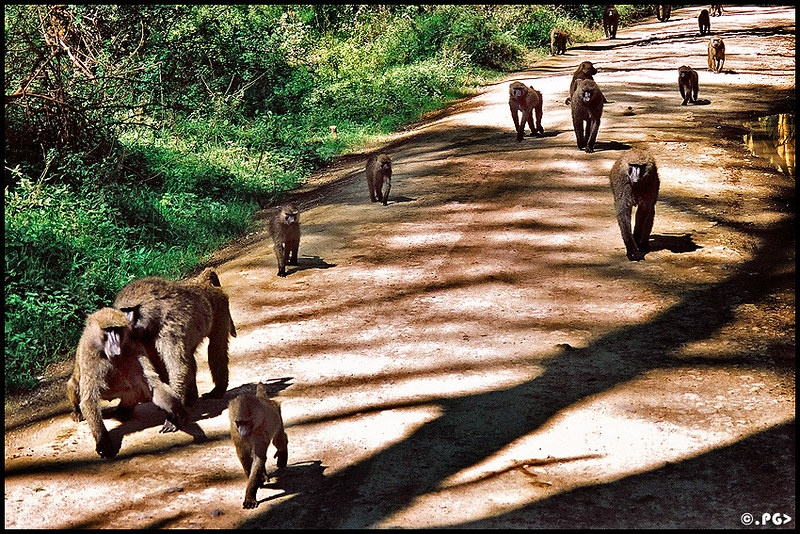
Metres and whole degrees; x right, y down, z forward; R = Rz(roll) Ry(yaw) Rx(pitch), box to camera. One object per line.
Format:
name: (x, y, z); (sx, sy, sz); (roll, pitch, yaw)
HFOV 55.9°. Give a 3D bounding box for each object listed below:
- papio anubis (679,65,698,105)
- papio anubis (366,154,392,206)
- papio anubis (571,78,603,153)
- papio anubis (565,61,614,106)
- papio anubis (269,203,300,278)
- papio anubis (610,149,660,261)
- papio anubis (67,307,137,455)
papio anubis: (7.896, -4.981, 20.733); (0.436, 1.004, 0.787); (0, 20, 24)
papio anubis: (-0.423, -1.885, 16.164); (0.478, 0.989, 1.644); (-5, 9, -13)
papio anubis: (4.246, -3.435, 17.111); (0.659, 1.541, 1.130); (-4, 19, 13)
papio anubis: (4.822, -5.088, 20.455); (1.141, 1.117, 2.720); (-9, 20, 5)
papio anubis: (-1.985, -0.492, 13.222); (0.562, 1.198, 0.709); (-11, 19, -7)
papio anubis: (3.854, -1.043, 12.398); (0.716, 1.621, 1.121); (-3, 19, 16)
papio anubis: (-3.498, 1.293, 9.027); (0.817, 1.663, 1.002); (-16, 20, -21)
